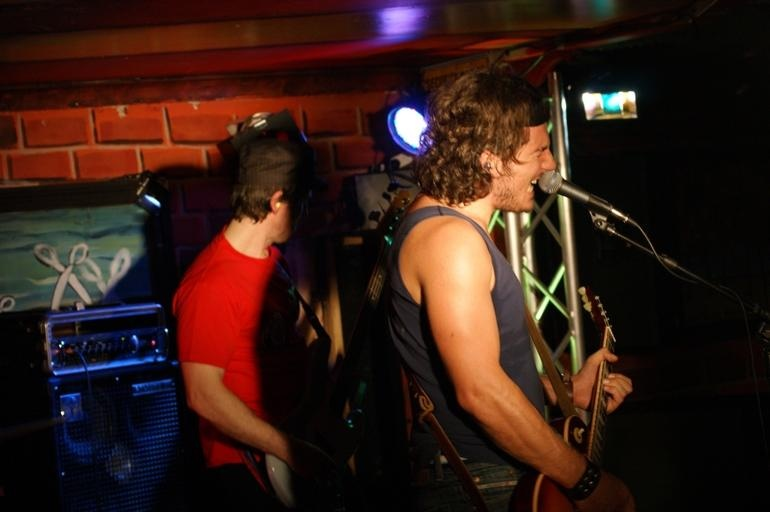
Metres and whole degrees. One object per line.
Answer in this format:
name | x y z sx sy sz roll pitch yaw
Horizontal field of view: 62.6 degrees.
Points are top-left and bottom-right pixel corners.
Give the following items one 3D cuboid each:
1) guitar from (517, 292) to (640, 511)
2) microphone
guitar | 1.045 0.809 3.462 0.207 0.590 1.454 -19 25 25
microphone | 1.136 -0.309 3.549 0.649 0.146 0.144 20 8 -24
